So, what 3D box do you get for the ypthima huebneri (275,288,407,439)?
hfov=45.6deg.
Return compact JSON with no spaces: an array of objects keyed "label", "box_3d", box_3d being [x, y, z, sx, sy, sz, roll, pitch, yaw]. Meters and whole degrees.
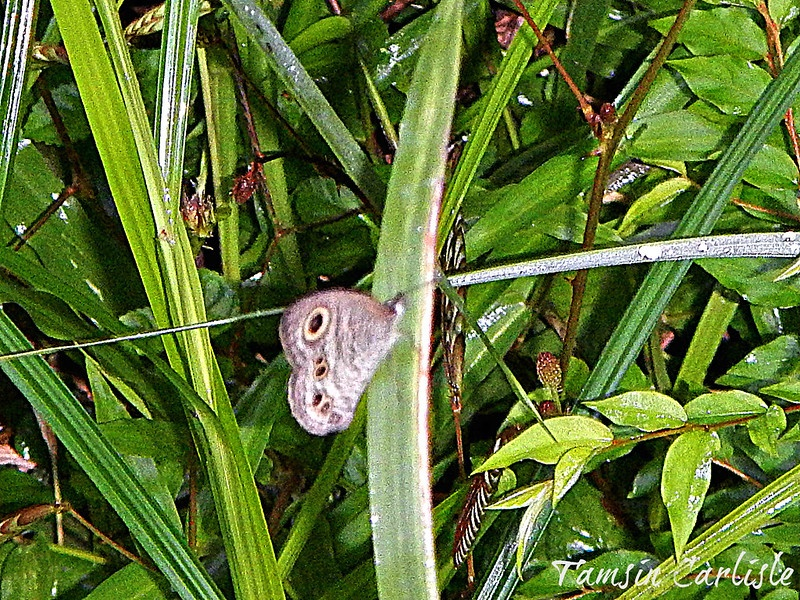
[{"label":"ypthima huebneri","box_3d":[-0.045,0.037,0.615,0.086,0.113,0.023,-10,29,-31]}]
